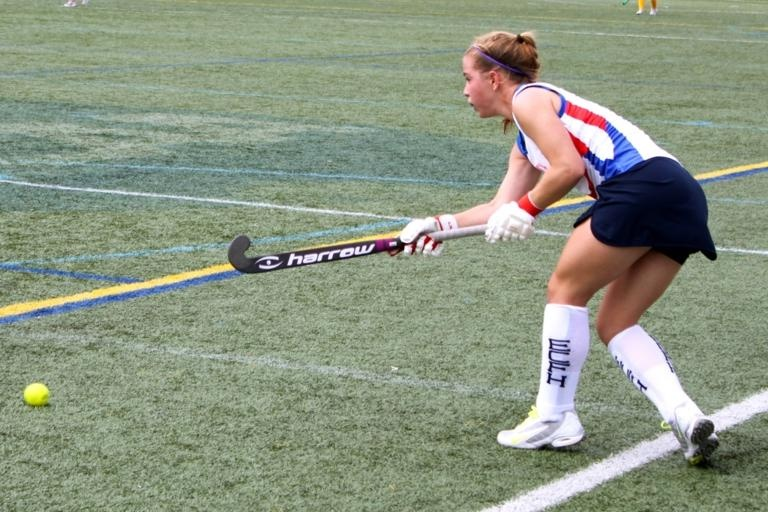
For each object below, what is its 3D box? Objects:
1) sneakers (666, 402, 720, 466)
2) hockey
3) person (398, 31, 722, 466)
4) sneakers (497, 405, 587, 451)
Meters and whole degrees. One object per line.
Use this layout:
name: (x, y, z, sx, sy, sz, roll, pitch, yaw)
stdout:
sneakers: (1.560, 0.907, 4.348, 0.161, 0.372, 0.221, 6, 51, 53)
hockey: (-0.173, -0.047, 5.725, 2.230, 0.071, 0.310, -5, 52, -1)
person: (1.008, -0.040, 4.406, 0.843, 2.193, 1.541, -15, 25, -38)
sneakers: (0.841, 0.922, 4.563, 0.545, 0.177, 0.180, -16, -10, 35)
